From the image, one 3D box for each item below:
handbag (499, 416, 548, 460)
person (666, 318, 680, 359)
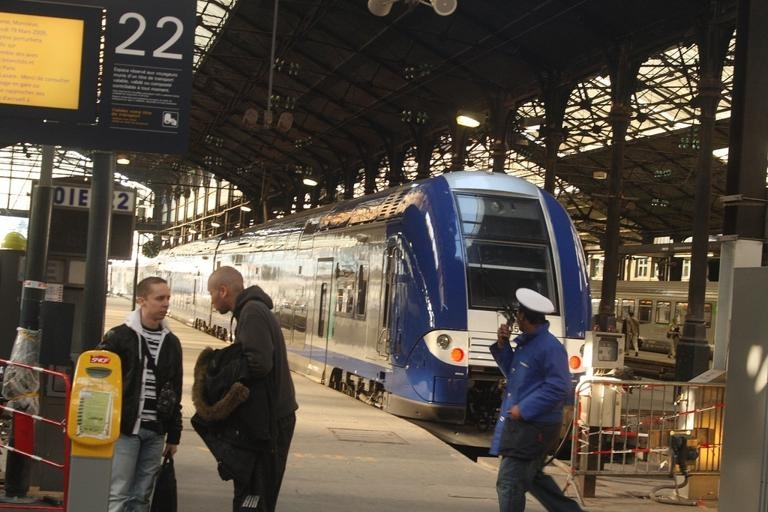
[{"bbox_3d":[1.327,1.723,6.710,0.392,0.282,0.389,6,-3,19],"label":"handbag"},{"bbox_3d":[12.336,3.489,30.293,0.507,1.750,1.082,-2,-1,21],"label":"person"}]
